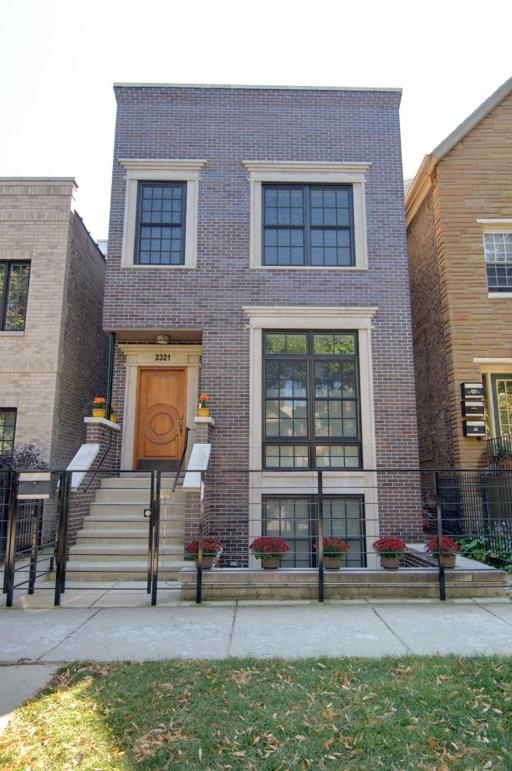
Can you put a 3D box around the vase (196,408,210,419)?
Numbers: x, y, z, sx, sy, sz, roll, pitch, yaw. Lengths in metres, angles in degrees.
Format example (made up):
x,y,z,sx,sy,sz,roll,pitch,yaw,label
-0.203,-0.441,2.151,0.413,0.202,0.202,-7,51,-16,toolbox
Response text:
x,y,z,sx,sy,sz,roll,pitch,yaw,label
-1.017,0.526,10.182,0.183,0.154,0.194,-3,-6,4,vase

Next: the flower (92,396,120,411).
x,y,z,sx,sy,sz,roll,pitch,yaw,label
-3.030,0.385,10.882,0.439,0.313,0.444,6,0,-7,flower

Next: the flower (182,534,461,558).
x,y,z,sx,sy,sz,roll,pitch,yaw,label
0.956,2.254,7.605,3.630,0.311,1.343,-1,-11,2,flower

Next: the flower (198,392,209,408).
x,y,z,sx,sy,sz,roll,pitch,yaw,label
-1.021,0.292,10.425,0.234,0.256,0.234,-1,0,-8,flower
